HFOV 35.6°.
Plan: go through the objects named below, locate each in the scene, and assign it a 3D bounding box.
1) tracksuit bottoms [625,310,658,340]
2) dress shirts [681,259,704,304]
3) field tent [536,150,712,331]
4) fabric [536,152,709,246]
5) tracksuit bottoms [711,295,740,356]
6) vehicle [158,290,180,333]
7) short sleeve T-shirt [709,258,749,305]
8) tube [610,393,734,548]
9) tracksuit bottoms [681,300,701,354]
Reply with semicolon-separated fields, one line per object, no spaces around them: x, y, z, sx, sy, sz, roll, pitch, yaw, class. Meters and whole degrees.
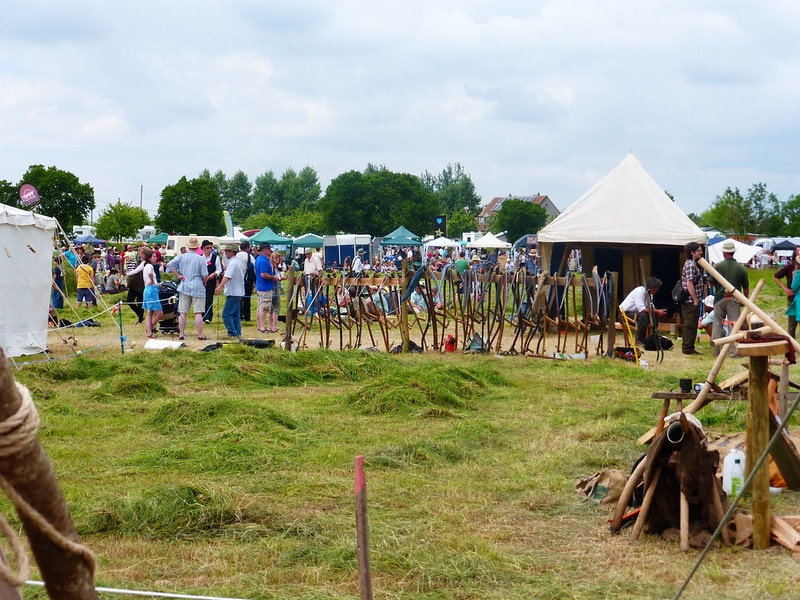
3.970;0.365;20.693;0.489;0.187;0.468;-3;14;-42;tracksuit bottoms
4.710;-0.339;20.206;0.308;0.694;0.556;5;6;37;dress shirts
4.735;-1.445;24.266;3.946;2.759;3.907;3;-1;35;field tent
4.384;-2.018;24.307;3.838;1.741;3.956;-1;7;-7;fabric
5.079;0.323;19.567;0.381;0.957;0.283;-2;21;4;tracksuit bottoms
-4.126;0.218;21.967;0.413;0.605;0.439;6;1;8;vehicle
5.087;-0.291;19.344;0.620;0.729;0.393;9;13;17;short sleeve T-shirt
2.550;1.665;12.322;1.145;1.635;1.189;1;-1;-30;tube
4.741;0.376;20.370;0.240;0.907;0.283;5;16;26;tracksuit bottoms
